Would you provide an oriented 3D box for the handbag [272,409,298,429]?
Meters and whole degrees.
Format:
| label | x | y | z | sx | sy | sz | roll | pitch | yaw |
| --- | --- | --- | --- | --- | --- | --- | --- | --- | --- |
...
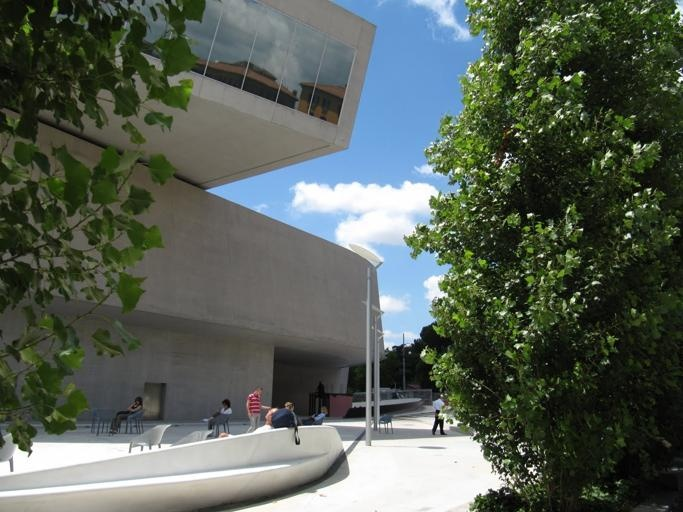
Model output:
| label | x | y | z | sx | sy | sz | roll | pitch | yaw |
| --- | --- | --- | --- | --- | --- | --- | --- | --- | --- |
| handbag | -1.225 | 3.444 | 11.287 | 0.470 | 0.525 | 0.333 | -4 | -6 | -22 |

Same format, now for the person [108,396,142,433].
| label | x | y | z | sx | sy | sz | roll | pitch | yaw |
| --- | --- | --- | --- | --- | --- | --- | --- | --- | --- |
| person | -7.381 | 5.503 | 18.268 | 0.825 | 1.308 | 1.347 | 6 | -22 | -14 |

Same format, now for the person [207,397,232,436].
| label | x | y | z | sx | sy | sz | roll | pitch | yaw |
| --- | --- | --- | --- | --- | --- | --- | --- | --- | --- |
| person | -4.078 | 5.591 | 17.859 | 0.594 | 0.990 | 0.588 | 10 | 0 | -34 |

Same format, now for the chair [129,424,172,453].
| label | x | y | z | sx | sy | sz | roll | pitch | yaw |
| --- | --- | --- | --- | --- | --- | --- | --- | --- | --- |
| chair | -4.035 | 3.842 | 11.156 | 0.547 | 0.551 | 2.164 | 6 | -24 | -16 |
